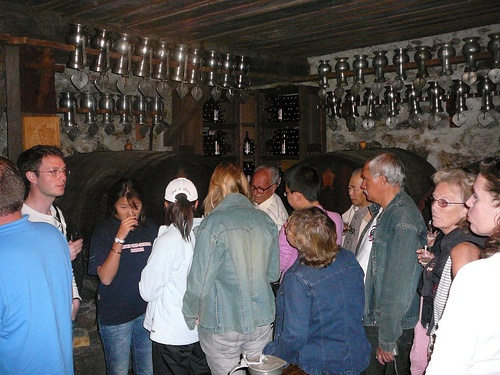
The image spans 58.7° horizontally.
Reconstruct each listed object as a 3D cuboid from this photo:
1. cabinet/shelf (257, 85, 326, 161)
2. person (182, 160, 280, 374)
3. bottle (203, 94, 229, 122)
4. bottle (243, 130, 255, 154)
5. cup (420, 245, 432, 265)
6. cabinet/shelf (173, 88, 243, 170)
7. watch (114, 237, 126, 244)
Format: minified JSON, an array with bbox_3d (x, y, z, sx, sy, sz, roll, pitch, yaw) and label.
[{"bbox_3d":[0.660,-0.976,6.926,1.045,1.161,0.653,3,5,41],"label":"cabinet/shelf"},{"bbox_3d":[-0.103,0.486,2.684,0.608,1.269,0.362,-1,4,-6],"label":"person"},{"bbox_3d":[-0.507,-1.143,6.431,0.417,0.462,0.319,-2,1,-25],"label":"bottle"},{"bbox_3d":[-0.023,-0.717,7.164,0.186,0.399,0.501,0,4,0],"label":"bottle"},{"bbox_3d":[0.980,0.377,2.508,0.041,0.108,0.064,2,14,21],"label":"cup"},{"bbox_3d":[-0.656,-0.858,6.463,0.772,1.017,0.957,2,4,36],"label":"cabinet/shelf"},{"bbox_3d":[-0.825,0.333,2.816,0.059,0.057,0.100,-1,4,-15],"label":"watch"}]
